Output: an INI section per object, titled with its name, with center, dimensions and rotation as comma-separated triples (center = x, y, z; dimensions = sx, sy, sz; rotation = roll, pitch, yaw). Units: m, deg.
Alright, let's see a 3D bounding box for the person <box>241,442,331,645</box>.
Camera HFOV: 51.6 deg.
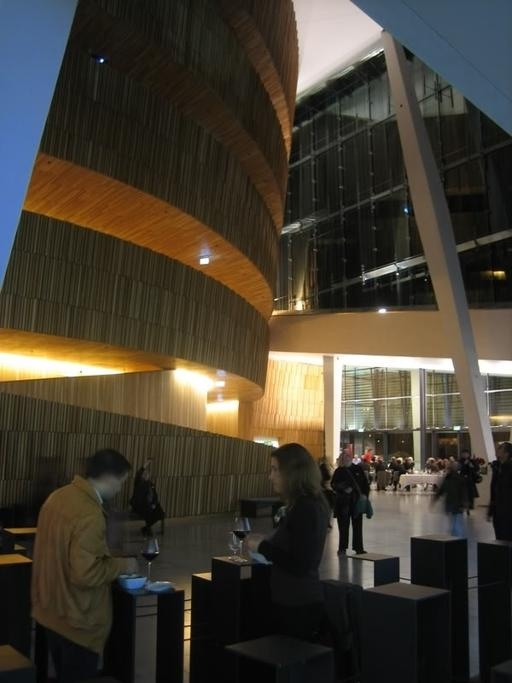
[person]
center = 0.189, 0.995, 2.665
dimensions = 0.347, 0.927, 0.267
rotation = -4, -12, 17
